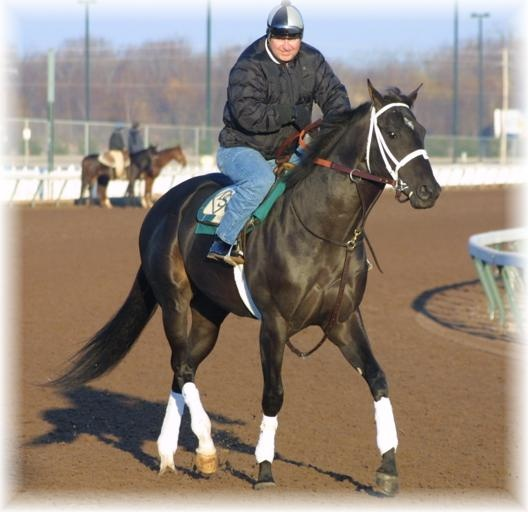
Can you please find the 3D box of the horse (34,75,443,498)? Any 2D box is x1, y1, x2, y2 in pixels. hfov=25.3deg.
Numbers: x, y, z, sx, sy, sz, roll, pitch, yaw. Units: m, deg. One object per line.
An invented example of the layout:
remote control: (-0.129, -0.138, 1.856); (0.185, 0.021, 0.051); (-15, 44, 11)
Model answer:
horse: (-0.296, 0.321, 9.667); (3.722, 3.174, 0.958); (-1, -3, 37)

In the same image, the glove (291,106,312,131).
glove: (0.300, -1.078, 9.357); (0.060, 0.197, 0.123); (15, 13, 36)
